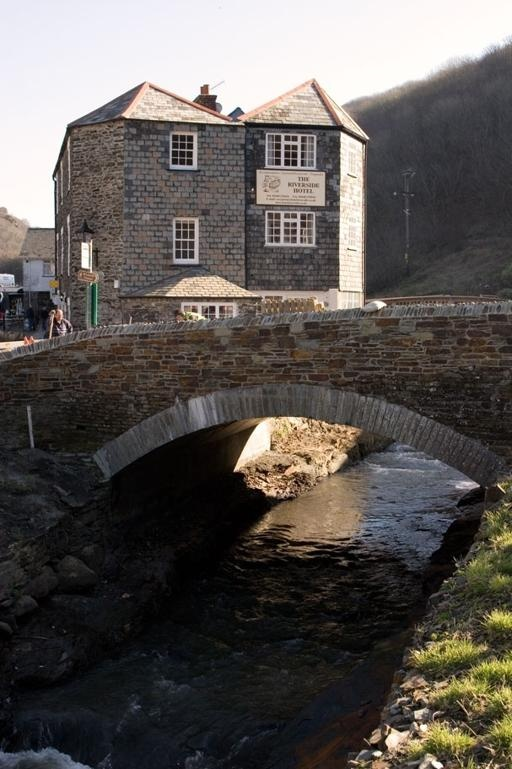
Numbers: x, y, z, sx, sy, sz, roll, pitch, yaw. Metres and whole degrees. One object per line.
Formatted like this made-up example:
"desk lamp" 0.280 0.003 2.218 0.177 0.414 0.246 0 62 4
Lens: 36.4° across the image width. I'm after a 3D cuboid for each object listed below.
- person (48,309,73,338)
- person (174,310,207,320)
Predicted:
"person" -4.232 -1.316 16.828 0.422 0.564 0.795 -4 8 -17
"person" -1.869 -1.905 21.864 0.781 0.285 3.244 -3 7 -6
